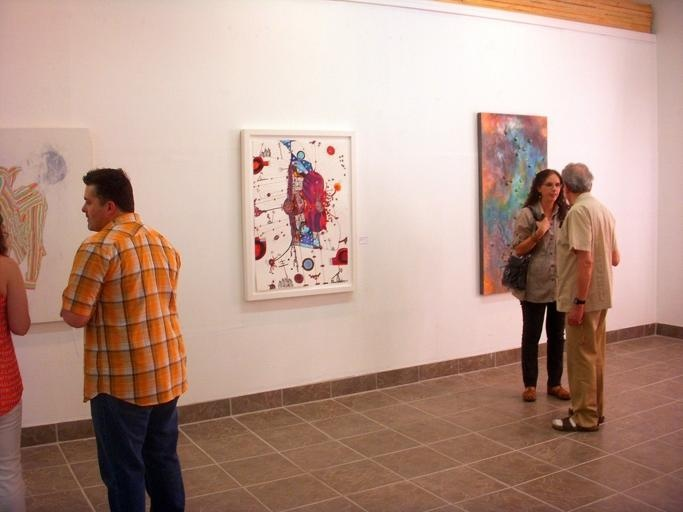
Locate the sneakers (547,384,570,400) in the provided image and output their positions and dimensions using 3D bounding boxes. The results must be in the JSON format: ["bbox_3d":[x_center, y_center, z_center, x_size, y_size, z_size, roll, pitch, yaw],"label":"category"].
[{"bbox_3d":[2.202,1.369,5.148,0.096,0.087,0.206,-3,-1,-25],"label":"sneakers"}]

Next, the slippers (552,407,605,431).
[{"bbox_3d":[2.058,1.455,4.425,0.356,0.148,0.194,4,4,22],"label":"slippers"}]

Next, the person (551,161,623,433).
[{"bbox_3d":[2.121,0.344,4.444,0.440,2.290,0.566,2,6,27],"label":"person"}]

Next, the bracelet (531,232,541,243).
[{"bbox_3d":[1.872,-0.179,4.877,0.074,0.091,0.090,0,-3,3],"label":"bracelet"}]
